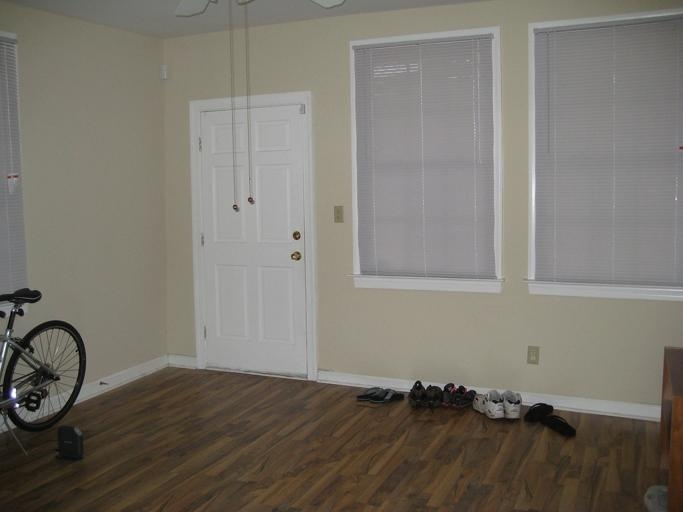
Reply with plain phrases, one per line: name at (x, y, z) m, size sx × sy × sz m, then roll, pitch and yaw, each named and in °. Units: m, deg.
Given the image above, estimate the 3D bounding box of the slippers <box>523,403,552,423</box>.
slippers at (1.453, 1.149, 3.611) m, size 0.183 × 0.069 × 0.112 m, roll -22°, pitch 22°, yaw -26°

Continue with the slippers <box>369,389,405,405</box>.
slippers at (0.379, 1.158, 4.038) m, size 0.304 × 0.062 × 0.183 m, roll -1°, pitch 9°, yaw 1°
